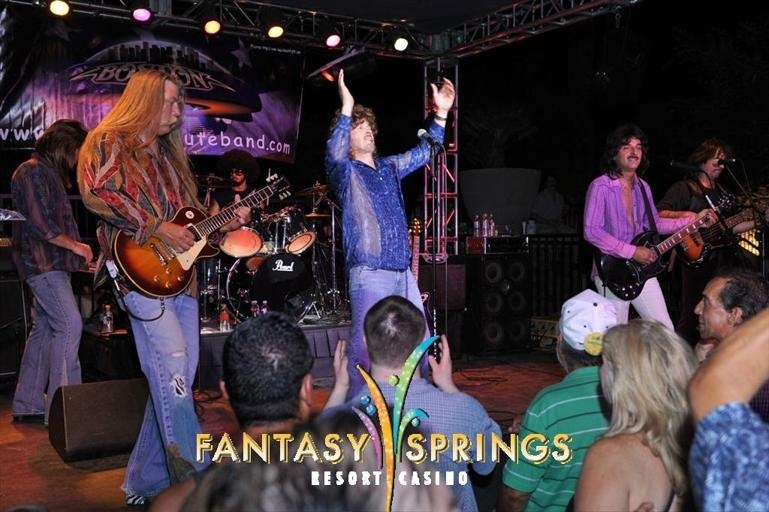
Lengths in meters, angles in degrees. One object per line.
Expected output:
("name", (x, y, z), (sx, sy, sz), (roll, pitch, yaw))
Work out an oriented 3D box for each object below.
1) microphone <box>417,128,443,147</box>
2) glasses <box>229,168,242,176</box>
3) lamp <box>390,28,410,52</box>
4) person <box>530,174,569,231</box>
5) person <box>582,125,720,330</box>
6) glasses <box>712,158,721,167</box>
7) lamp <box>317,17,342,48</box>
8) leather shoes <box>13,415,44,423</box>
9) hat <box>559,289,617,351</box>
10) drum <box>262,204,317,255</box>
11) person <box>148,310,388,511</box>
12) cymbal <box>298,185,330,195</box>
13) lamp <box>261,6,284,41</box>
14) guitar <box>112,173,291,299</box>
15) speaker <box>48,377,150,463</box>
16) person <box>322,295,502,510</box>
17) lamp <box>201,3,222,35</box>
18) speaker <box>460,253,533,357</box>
("microphone", (0.295, -0.831, 4.168), (0.193, 0.083, 0.087), (22, 6, 31))
("glasses", (-1.878, -1.084, 7.703), (0.095, 0.104, 0.029), (2, -10, 5))
("lamp", (0.203, -2.643, 7.408), (0.187, 0.191, 0.179), (12, 44, -5))
("person", (2.887, -0.919, 10.528), (0.726, 0.921, 0.505), (-2, 5, -39))
("person", (2.200, 0.066, 5.091), (0.957, 2.234, 0.550), (-3, 15, 18))
("glasses", (3.093, -0.880, 5.642), (0.064, 0.064, 0.068), (22, -6, 14))
("lamp", (-0.656, -2.755, 7.329), (0.318, 0.456, 0.499), (1, 4, -7))
("leather shoes", (-3.020, 1.380, 5.149), (0.145, 0.073, 0.049), (1, 5, -18))
("hat", (0.950, 0.273, 2.782), (0.277, 0.137, 0.404), (6, 37, 16))
("drum", (-1.147, -0.334, 7.580), (0.643, 0.569, 0.525), (-4, 48, -22))
("person", (-0.353, 0.371, 1.833), (0.668, 0.776, 0.437), (6, 12, 9))
("cymbal", (-0.974, -0.925, 8.397), (0.387, 0.145, 0.401), (-3, -4, 12))
("lamp", (-1.307, -2.741, 7.117), (0.308, 0.324, 0.548), (1, 14, -10))
("guitar", (-1.150, -0.142, 3.880), (0.139, 0.471, 1.204), (-14, 19, 45))
("speaker", (-1.906, 1.095, 4.094), (0.718, 0.549, 0.481), (3, -4, -27))
("person", (0.134, 0.681, 2.956), (0.668, 1.771, 0.569), (-11, 43, 6))
("lamp", (-1.959, -2.760, 6.960), (0.201, 0.384, 0.210), (0, 4, -13))
("speaker", (1.598, 0.535, 7.784), (0.734, 1.274, 0.726), (-1, 2, 24))
